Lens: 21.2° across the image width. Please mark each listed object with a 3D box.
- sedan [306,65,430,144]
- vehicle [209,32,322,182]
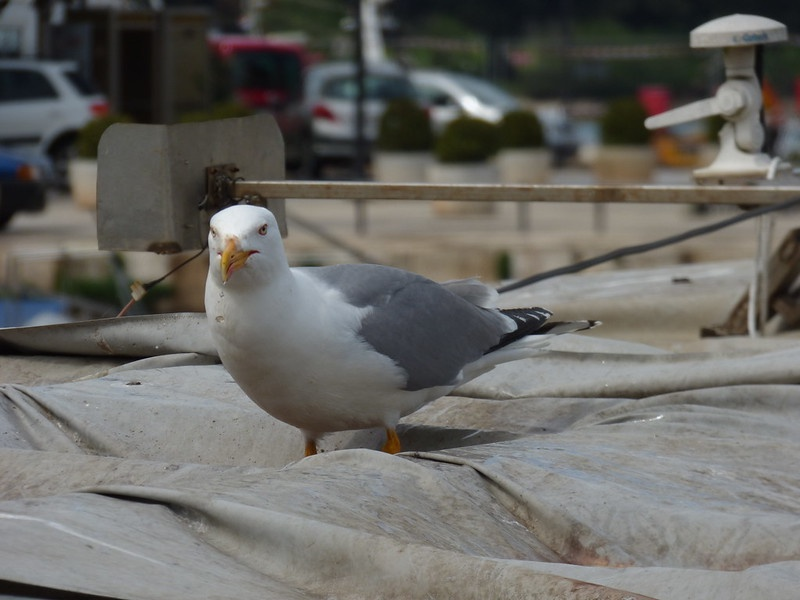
[{"bbox_3d":[-0.388,-1.804,19.953,0.952,0.681,2.859,0,5,-4],"label":"sedan"},{"bbox_3d":[-1.475,-2.052,22.157,0.992,1.451,2.075,-1,6,-7],"label":"vehicle"}]
